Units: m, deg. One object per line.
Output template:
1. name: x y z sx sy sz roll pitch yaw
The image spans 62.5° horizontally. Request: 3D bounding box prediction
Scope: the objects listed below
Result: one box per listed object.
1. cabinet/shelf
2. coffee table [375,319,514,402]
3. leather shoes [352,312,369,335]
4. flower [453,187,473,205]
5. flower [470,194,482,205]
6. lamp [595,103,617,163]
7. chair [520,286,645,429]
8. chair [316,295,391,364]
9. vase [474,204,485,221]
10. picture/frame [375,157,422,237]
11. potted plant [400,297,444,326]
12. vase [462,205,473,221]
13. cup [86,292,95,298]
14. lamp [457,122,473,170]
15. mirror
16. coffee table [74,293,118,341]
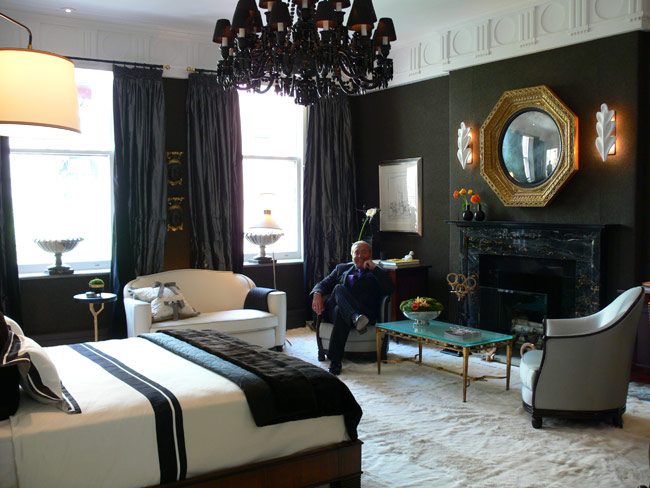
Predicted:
1. cabinet/shelf: 0.922 0.512 6.441 0.656 1.106 0.645 -1 1 -40
2. coffee table: 1.127 1.011 5.029 0.918 0.567 1.251 -6 9 -42
3. leather shoes: 0.342 0.781 5.174 0.101 0.208 0.089 -15 48 -15
4. flower: 1.557 -0.554 6.095 0.170 0.217 0.197 -5 3 -9
5. flower: 1.643 -0.515 5.891 0.106 0.123 0.122 -12 -33 40
6. lamp: 2.637 -1.060 5.039 0.188 0.531 0.080 4 9 36
7. chair: 1.872 0.877 4.462 1.004 1.244 0.900 1 0 11
8. chair: 0.333 0.909 5.777 0.896 0.979 0.963 0 -2 -7
9. vase: 1.715 -0.356 5.943 0.116 0.172 0.227 1 7 16
10. picture/frame: 0.986 -0.634 6.963 0.140 1.422 0.984 -2 2 -41
11. potted plant: 0.935 0.603 5.009 0.278 0.174 0.279 0 0 -34
12. vase: 1.609 -0.355 6.003 0.110 0.169 0.168 1 7 17
13. cup: -2.243 0.497 5.170 0.052 0.029 0.076 2 1 -12
14. lamp: 1.588 -1.136 6.094 0.087 0.541 0.234 -5 8 -34
15. mirror: 2.151 -1.008 5.500 0.078 0.982 0.752 -2 4 -34
16. coffee table: -2.225 0.759 5.236 0.314 0.450 0.341 0 -3 11
